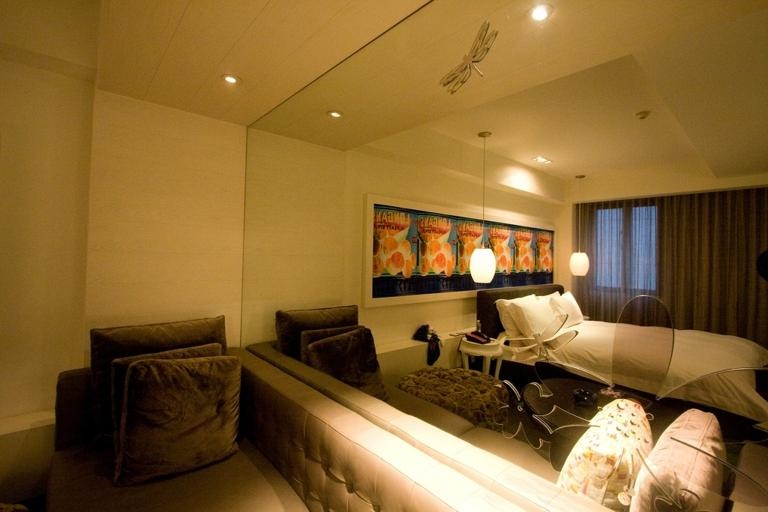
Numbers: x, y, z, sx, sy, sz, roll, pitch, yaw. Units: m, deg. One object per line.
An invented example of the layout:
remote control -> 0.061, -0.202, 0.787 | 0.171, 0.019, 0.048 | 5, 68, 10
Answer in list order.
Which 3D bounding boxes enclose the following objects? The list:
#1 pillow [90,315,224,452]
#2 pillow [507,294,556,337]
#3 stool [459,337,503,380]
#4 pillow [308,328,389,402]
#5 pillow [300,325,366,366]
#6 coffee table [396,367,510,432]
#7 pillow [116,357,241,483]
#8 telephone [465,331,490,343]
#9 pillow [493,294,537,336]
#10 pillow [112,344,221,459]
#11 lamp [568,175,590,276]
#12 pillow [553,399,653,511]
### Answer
pillow -> -1.007, 0.578, 2.191 | 0.531, 0.529, 0.179 | -2, 4, -40
pillow -> 0.461, 0.180, 1.530 | 0.034, 0.118, 0.113 | 9, -13, -39
stool -> 0.313, 0.320, 1.586 | 0.110, 0.123, 0.115 | 6, -7, -40
pillow -> -0.133, 0.405, 1.984 | 0.077, 0.259, 0.254 | -9, -1, -43
pillow -> -0.280, 0.356, 2.188 | 0.230, 0.236, 0.070 | 3, -5, -8
coffee table -> 0.245, 0.455, 1.636 | 0.253, 0.095, 0.143 | 5, 1, 32
pillow -> -0.872, 0.699, 2.228 | 0.561, 0.559, 0.217 | -1, 8, -38
telephone -> 0.301, 0.261, 1.614 | 0.041, 0.017, 0.043 | -5, 8, -41
pillow -> 0.396, 0.186, 1.580 | 0.114, 0.124, 0.036 | 3, -11, 9
pillow -> -0.925, 0.634, 2.121 | 0.447, 0.423, 0.154 | -2, 3, -44
lamp -> 0.578, -0.093, 1.495 | 0.062, 0.314, 0.051 | -3, -1, 23
pillow -> 0.645, 0.595, 1.489 | 0.166, 0.352, 0.114 | 27, 7, 18
